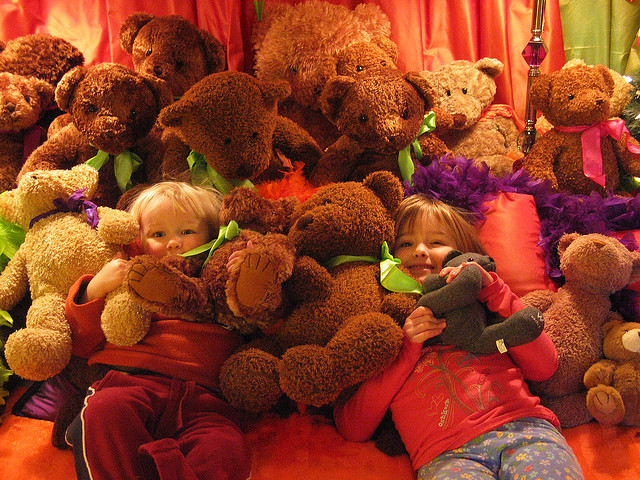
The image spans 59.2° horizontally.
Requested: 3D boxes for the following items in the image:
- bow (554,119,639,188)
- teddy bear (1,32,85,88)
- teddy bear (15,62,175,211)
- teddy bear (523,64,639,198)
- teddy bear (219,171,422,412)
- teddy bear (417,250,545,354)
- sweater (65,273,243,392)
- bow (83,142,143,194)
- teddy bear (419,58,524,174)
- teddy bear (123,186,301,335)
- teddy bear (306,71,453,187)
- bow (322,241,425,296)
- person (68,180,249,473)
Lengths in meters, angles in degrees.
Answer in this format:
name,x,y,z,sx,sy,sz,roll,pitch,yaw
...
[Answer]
name,x,y,z,sx,sy,sz,roll,pitch,yaw
bow,0.881,-0.281,1.821,0.227,0.166,0.028,4,3,16
teddy bear,-0.956,-0.636,1.964,0.224,0.087,0.190,-4,41,-11
teddy bear,-0.711,-0.308,1.822,0.502,0.491,0.320,-5,31,-33
teddy bear,0.852,-0.343,1.841,0.402,0.412,0.286,-12,16,-18
teddy bear,0.012,0.129,1.531,0.517,0.700,0.400,-10,-22,20
teddy bear,0.400,0.170,1.464,0.291,0.220,0.232,-9,-12,27
sweater,-0.436,0.248,1.481,0.367,0.149,0.279,18,40,9
bow,-0.643,-0.224,1.790,0.146,0.134,0.059,0,6,-2
teddy bear,0.565,-0.434,2.161,0.375,0.483,0.361,-12,29,18
teddy bear,-0.266,0.023,1.488,0.420,0.410,0.285,0,-19,2
teddy bear,0.179,-0.348,1.782,0.375,0.366,0.214,-9,20,-11
bow,0.154,0.074,1.509,0.264,0.149,0.059,1,-11,13
person,-0.406,0.208,1.475,0.425,0.251,0.707,12,49,-20
